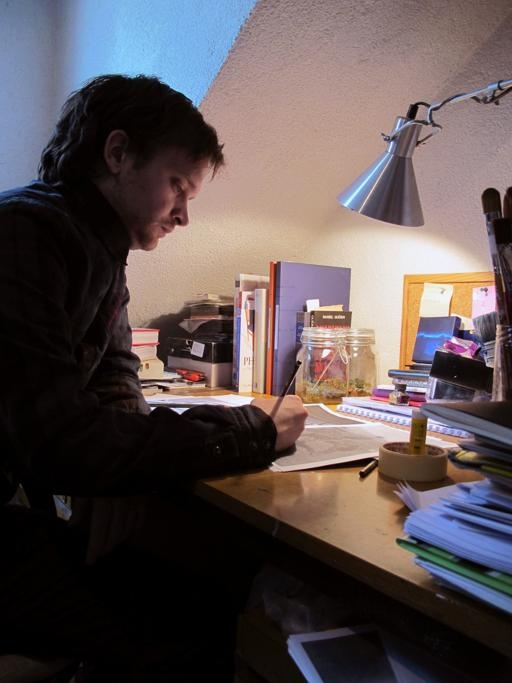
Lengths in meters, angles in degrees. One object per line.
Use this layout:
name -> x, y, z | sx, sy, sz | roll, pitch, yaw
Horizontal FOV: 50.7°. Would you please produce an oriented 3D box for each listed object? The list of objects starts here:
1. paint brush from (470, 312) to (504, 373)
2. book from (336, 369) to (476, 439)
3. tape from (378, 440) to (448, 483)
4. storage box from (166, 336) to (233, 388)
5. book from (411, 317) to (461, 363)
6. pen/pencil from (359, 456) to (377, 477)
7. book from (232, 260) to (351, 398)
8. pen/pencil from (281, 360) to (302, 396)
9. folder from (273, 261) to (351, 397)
paint brush -> 0.411, 0.000, 0.961 | 0.034, 0.104, 0.079 | -5, 14, -4
book -> 0.347, 0.103, 1.197 | 0.262, 0.110, 0.333 | -2, 11, -28
tape -> 0.218, 0.164, 0.753 | 0.087, 0.038, 0.084 | 2, 0, 10
storage box -> -0.174, 0.064, 1.760 | 0.172, 0.158, 0.178 | 3, 1, 24
book -> 0.462, -0.012, 1.406 | 0.033, 0.135, 0.128 | 10, 6, -30
pen/pencil -> 0.167, 0.181, 0.790 | 0.009, 0.011, 0.058 | -31, -6, 40
book -> 0.068, -0.042, 1.660 | 0.195, 0.382, 0.370 | -3, 14, -38
pen/pencil -> 0.088, 0.088, 1.350 | 0.027, 0.129, 0.023 | 32, 27, 21
folder -> 0.134, -0.050, 1.674 | 0.258, 0.425, 0.189 | 2, 1, -22
